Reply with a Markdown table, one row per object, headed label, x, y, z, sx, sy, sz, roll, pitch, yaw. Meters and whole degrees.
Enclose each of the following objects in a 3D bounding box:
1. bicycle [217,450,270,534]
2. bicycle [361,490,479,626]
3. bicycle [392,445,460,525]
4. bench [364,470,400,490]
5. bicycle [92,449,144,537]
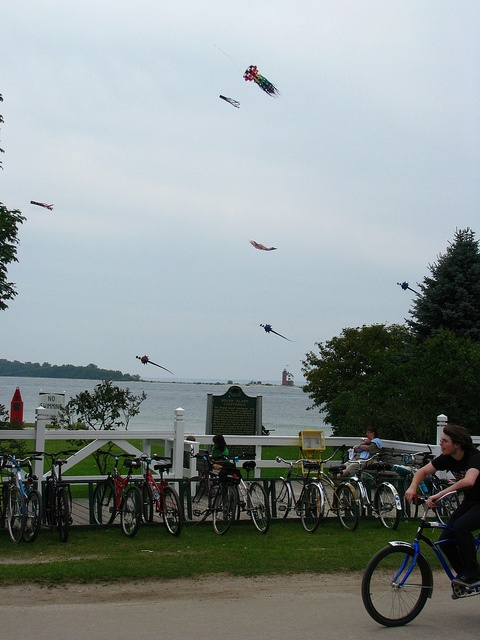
| label | x | y | z | sx | sy | sz | roll | pitch | yaw |
| --- | --- | --- | --- | --- | --- | --- | --- | --- | --- |
| bicycle | -0.004 | 2.332 | 13.779 | 0.694 | 0.908 | 1.089 | 4 | -7 | -20 |
| bicycle | 1.502 | 2.088 | 8.992 | 0.907 | 1.012 | 0.676 | 1 | -6 | -1 |
| bicycle | 2.741 | 2.419 | 15.696 | 1.071 | 1.113 | 1.758 | 2 | -7 | -21 |
| bench | 2.127 | 2.365 | 15.515 | 0.566 | 0.146 | 0.379 | 1 | -5 | -16 |
| bicycle | -1.557 | 2.339 | 13.619 | 0.564 | 0.740 | 1.128 | 10 | -7 | -28 |
